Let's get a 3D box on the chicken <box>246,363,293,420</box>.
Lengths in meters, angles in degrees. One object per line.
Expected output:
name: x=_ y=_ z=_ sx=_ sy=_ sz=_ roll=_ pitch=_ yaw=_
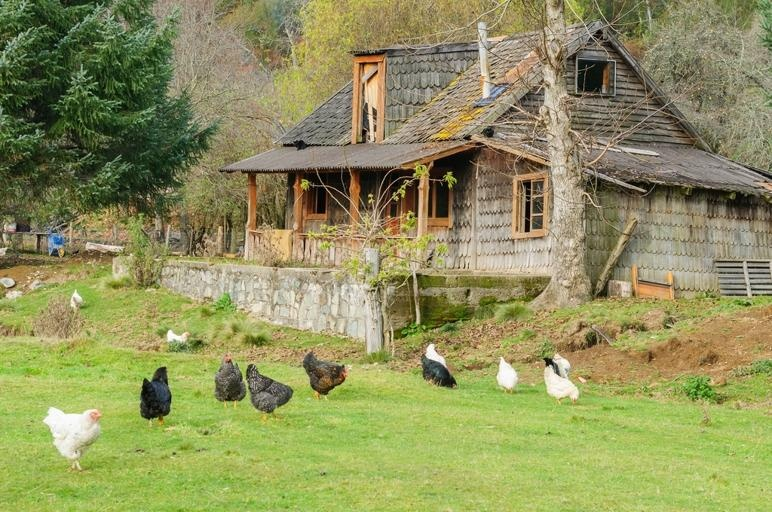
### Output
chicken: x=-2.912 y=3.319 z=24.717 sx=1.083 sy=1.484 sz=0.758 roll=0 pitch=-5 yaw=-15

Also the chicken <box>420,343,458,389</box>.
chicken: x=1.241 y=3.125 z=28.452 sx=0.718 sy=1.064 sz=1.195 roll=4 pitch=-2 yaw=-16

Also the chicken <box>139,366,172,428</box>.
chicken: x=-5.354 y=3.318 z=23.726 sx=0.650 sy=1.362 sz=1.035 roll=1 pitch=1 yaw=-9

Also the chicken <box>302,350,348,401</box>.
chicken: x=-1.801 y=3.047 z=26.521 sx=1.307 sy=1.202 sz=0.691 roll=22 pitch=8 yaw=17

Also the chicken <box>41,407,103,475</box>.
chicken: x=-6.631 y=3.945 z=21.728 sx=1.051 sy=1.072 sz=0.475 roll=3 pitch=-2 yaw=9
